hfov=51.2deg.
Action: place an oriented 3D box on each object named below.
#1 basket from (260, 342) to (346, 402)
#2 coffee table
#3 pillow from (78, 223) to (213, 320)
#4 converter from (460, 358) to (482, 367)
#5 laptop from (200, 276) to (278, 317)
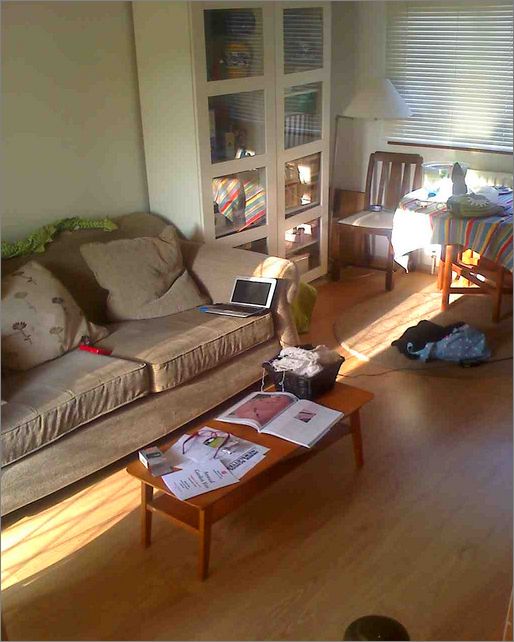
[{"bbox_3d":[0.178,0.207,1.945,0.197,0.103,0.231,9,26,36],"label":"basket"},{"bbox_3d":[0.007,0.488,1.799,0.376,0.339,0.810,17,28,42],"label":"coffee table"},{"bbox_3d":[-0.538,-0.211,2.550,0.499,0.441,0.147,-22,-6,-36],"label":"pillow"},{"bbox_3d":[1.121,0.217,2.782,0.129,0.030,0.042,-5,21,-6],"label":"converter"},{"bbox_3d":[-0.071,-0.158,2.474,0.269,0.132,0.246,12,21,37],"label":"laptop"}]
